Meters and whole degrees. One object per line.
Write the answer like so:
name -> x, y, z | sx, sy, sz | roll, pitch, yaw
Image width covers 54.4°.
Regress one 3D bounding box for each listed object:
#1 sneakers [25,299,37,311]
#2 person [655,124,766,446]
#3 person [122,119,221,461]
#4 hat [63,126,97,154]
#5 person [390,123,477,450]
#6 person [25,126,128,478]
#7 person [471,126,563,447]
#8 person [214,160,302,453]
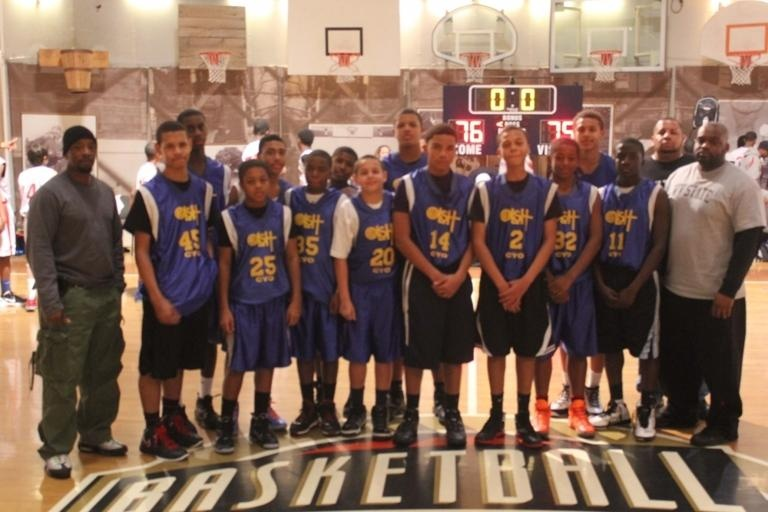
sneakers -> -4.232, 0.590, 8.926 | 0.112, 0.122, 0.309 | 4, -6, -32
person -> 2.396, 0.200, 5.512 | 0.677, 2.315, 0.637 | 5, 14, 26
person -> -1.518, 0.226, 5.434 | 0.557, 2.377, 0.748 | 4, 14, 25
hat -> -2.162, -0.811, 5.233 | 0.230, 0.202, 0.167 | 5, 14, 28
person -> 0.374, 0.210, 5.452 | 0.602, 2.303, 0.630 | -1, 13, 6
person -> -2.160, 0.308, 5.227 | 0.774, 2.389, 0.507 | -10, 15, -31
person -> 0.954, 0.218, 5.428 | 0.633, 2.273, 0.609 | 1, 13, 12
person -> -0.944, 0.358, 5.435 | 0.687, 2.074, 0.518 | -4, 13, -7
